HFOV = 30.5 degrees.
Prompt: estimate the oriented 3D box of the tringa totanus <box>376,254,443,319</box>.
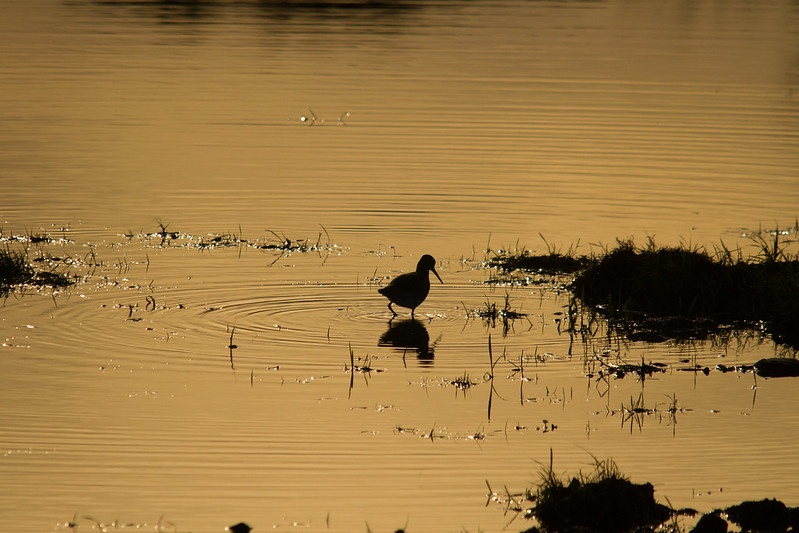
[{"bbox_3d":[0.179,0.400,29.668,1.578,1.051,0.722,-5,7,-15],"label":"tringa totanus"}]
